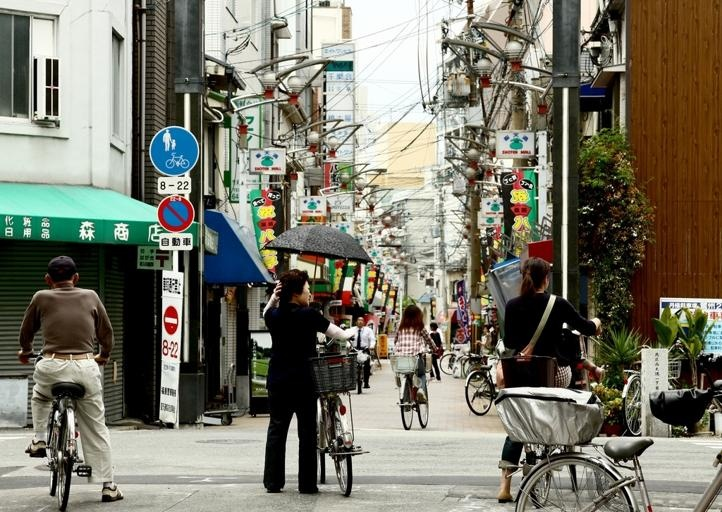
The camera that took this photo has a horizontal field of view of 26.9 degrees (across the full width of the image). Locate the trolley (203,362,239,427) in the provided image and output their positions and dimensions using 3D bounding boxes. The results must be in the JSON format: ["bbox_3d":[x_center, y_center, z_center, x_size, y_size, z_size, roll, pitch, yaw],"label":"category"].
[{"bbox_3d":[-3.052,3.124,33.204,0.781,1.453,0.757,-1,2,-19],"label":"trolley"}]

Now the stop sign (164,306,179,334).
[{"bbox_3d":[-3.628,1.220,28.955,0.027,0.574,0.482,-3,3,-39],"label":"stop sign"}]

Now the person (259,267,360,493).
[{"bbox_3d":[-0.946,1.849,22.283,1.005,3.291,0.634,0,-2,-1],"label":"person"}]

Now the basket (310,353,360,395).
[{"bbox_3d":[-0.397,1.750,22.202,0.645,0.597,0.295,0,-2,-2],"label":"basket"}]

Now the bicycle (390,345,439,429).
[{"bbox_3d":[0.958,2.686,29.917,0.546,1.234,1.606,0,-3,6],"label":"bicycle"}]

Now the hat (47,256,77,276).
[{"bbox_3d":[-4.340,0.172,21.922,0.370,0.294,0.621,5,-1,-9],"label":"hat"}]

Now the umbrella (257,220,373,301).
[{"bbox_3d":[-0.846,0.283,26.383,1.740,1.615,1.803,6,2,39],"label":"umbrella"}]

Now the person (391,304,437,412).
[{"bbox_3d":[1.063,1.968,30.261,0.588,1.832,0.919,0,-1,8],"label":"person"}]
